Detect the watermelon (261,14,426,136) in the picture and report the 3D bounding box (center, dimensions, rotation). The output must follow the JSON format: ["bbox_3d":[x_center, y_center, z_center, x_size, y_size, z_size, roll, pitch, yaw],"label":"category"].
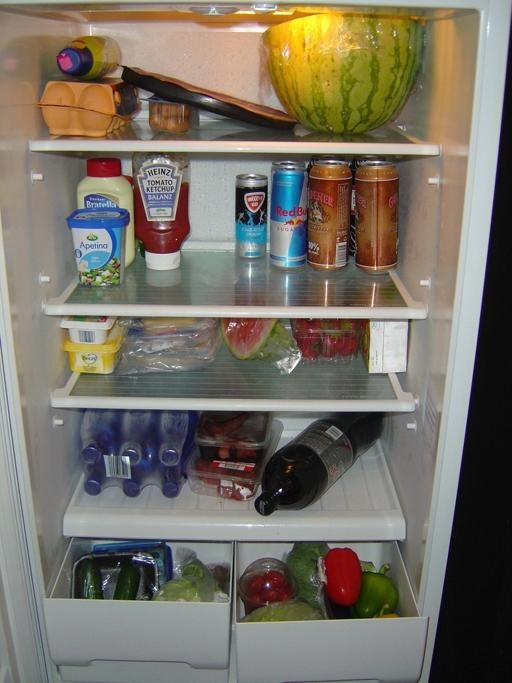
[{"bbox_3d":[0.150,-0.442,0.983,0.219,0.137,0.218,1,12,17],"label":"watermelon"}]

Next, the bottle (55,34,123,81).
[{"bbox_3d":[-0.323,-0.535,1.020,0.109,0.082,0.204,-3,22,-5],"label":"bottle"}]

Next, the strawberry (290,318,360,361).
[{"bbox_3d":[0.169,-0.005,1.275,0.130,0.086,0.092,-1,22,1],"label":"strawberry"}]

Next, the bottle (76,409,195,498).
[{"bbox_3d":[-0.279,0.241,1.294,0.258,0.160,0.271,5,13,-1],"label":"bottle"}]

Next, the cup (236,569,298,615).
[{"bbox_3d":[0.020,0.538,1.188,0.093,0.078,0.095,-1,33,1],"label":"cup"}]

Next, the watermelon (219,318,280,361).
[{"bbox_3d":[-0.034,-0.007,1.266,0.097,0.109,0.033,21,3,21],"label":"watermelon"}]

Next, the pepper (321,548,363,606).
[{"bbox_3d":[0.195,0.515,1.203,0.087,0.127,0.084,-3,-10,-23],"label":"pepper"}]

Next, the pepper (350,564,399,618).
[{"bbox_3d":[0.254,0.543,1.181,0.061,0.061,0.099,35,39,-18],"label":"pepper"}]

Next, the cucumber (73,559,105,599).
[{"bbox_3d":[-0.352,0.499,1.138,0.044,0.037,0.098,1,37,-16],"label":"cucumber"}]
